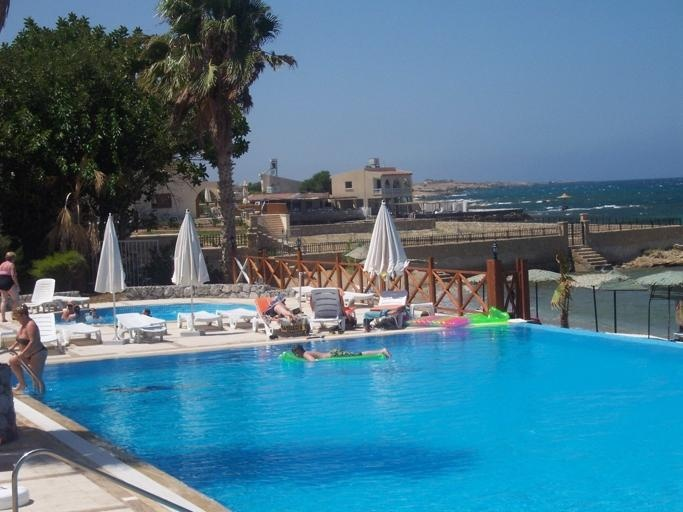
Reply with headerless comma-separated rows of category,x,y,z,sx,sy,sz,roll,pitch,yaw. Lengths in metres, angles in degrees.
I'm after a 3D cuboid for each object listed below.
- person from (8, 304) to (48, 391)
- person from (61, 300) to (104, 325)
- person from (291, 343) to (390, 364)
person,-5.270,1.571,13.784,0.572,1.576,1.610,-5,12,-23
person,-6.702,1.526,21.196,0.863,0.225,0.813,8,3,43
person,-0.035,1.943,16.159,1.294,0.384,0.711,4,-3,4
